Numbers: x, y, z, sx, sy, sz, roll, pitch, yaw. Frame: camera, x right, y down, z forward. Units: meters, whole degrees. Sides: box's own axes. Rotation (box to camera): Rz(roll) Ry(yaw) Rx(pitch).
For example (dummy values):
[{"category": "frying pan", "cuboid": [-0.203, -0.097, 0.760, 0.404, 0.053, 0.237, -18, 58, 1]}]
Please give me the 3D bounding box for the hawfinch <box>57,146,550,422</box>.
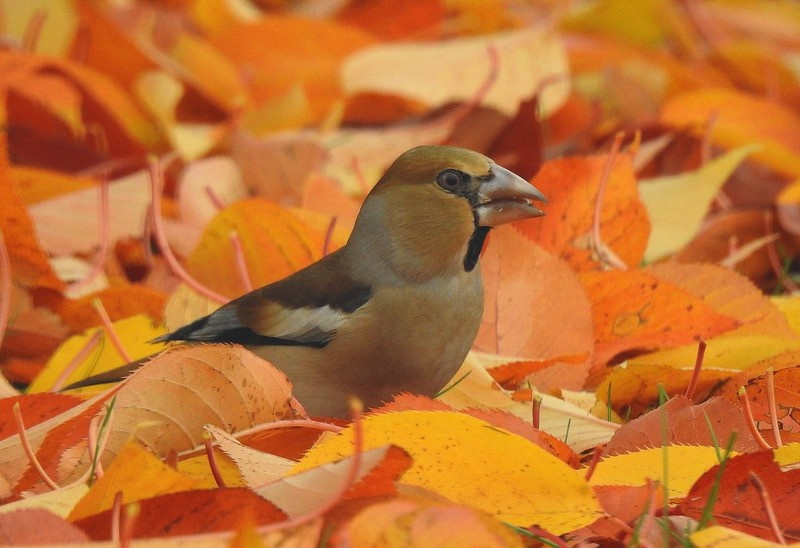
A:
[{"category": "hawfinch", "cuboid": [-0.133, 0.074, 2.164, 1.002, 0.331, 0.588, 1, 101, 33]}]
